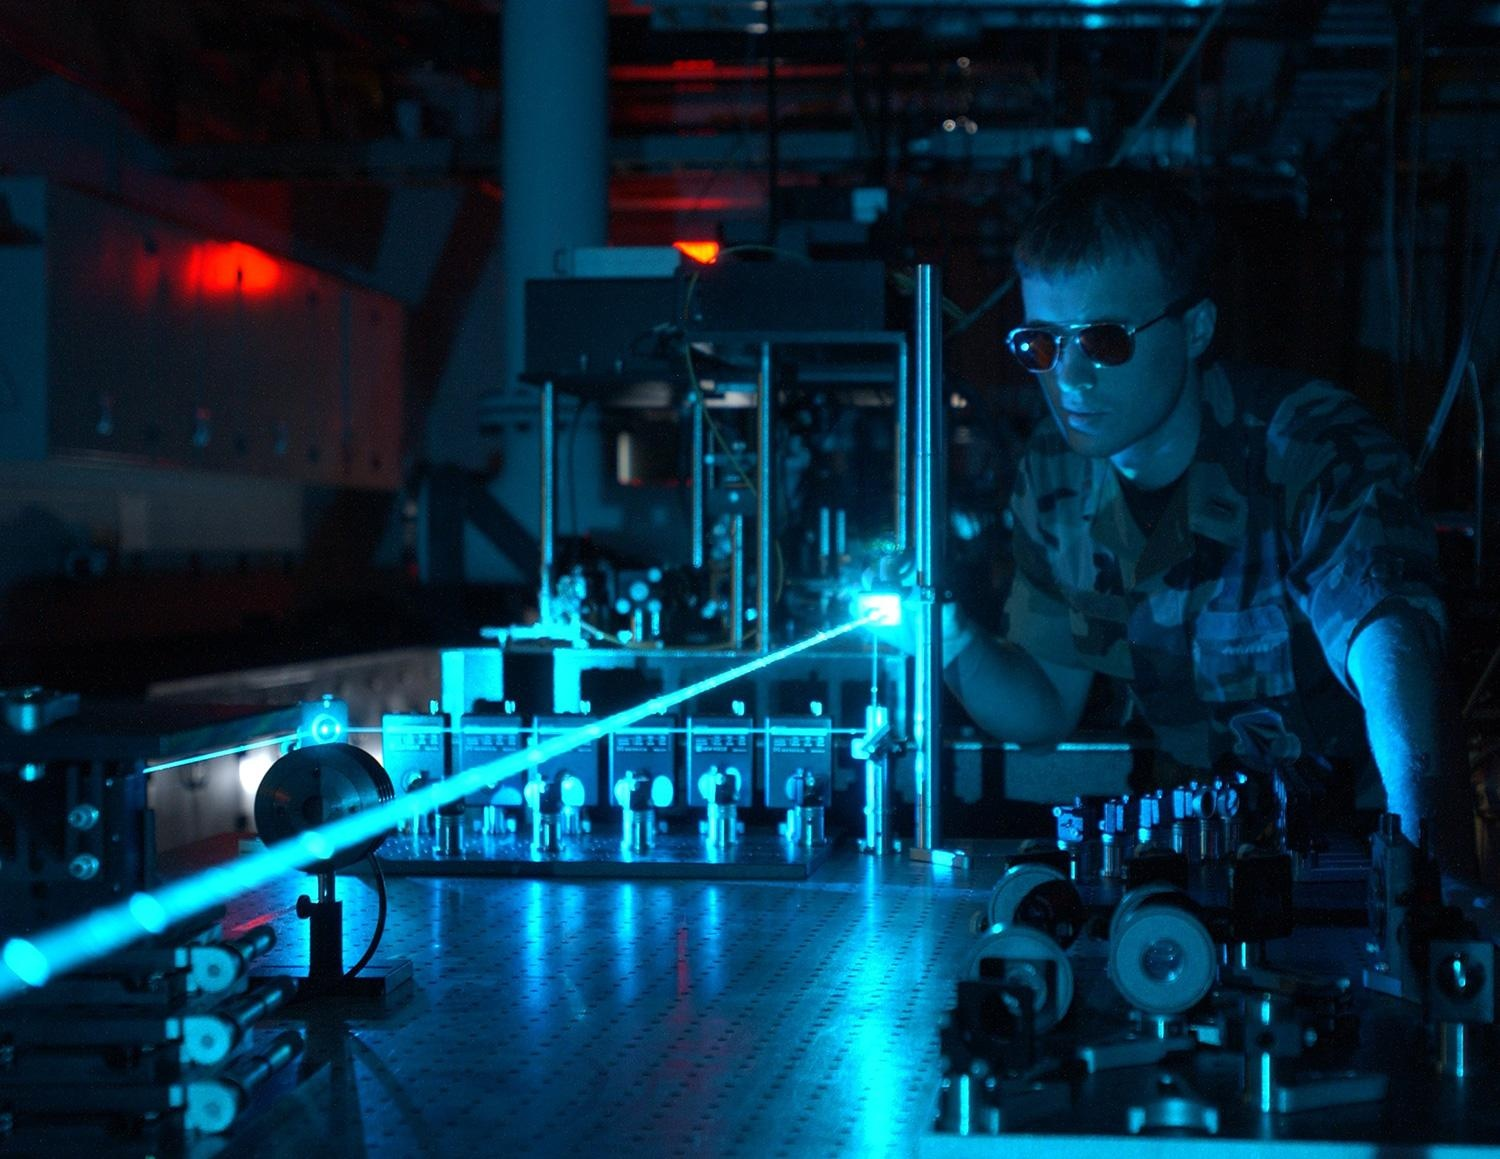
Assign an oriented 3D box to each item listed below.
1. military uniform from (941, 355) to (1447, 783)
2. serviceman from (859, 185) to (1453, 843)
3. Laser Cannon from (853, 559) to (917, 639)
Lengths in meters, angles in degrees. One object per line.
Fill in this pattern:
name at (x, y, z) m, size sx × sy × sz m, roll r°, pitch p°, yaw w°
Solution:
military uniform at (1.039, 0.011, 4.093) m, size 0.847 × 0.738 × 0.473 m, roll -8°, pitch 20°, yaw 46°
serviceman at (1.011, -0.010, 4.122) m, size 1.142 × 1.842 × 0.905 m, roll -7°, pitch 26°, yaw 34°
Laser Cannon at (0.301, 0.044, 3.851) m, size 0.161 × 0.112 × 0.288 m, roll 0°, pitch -2°, yaw 1°
